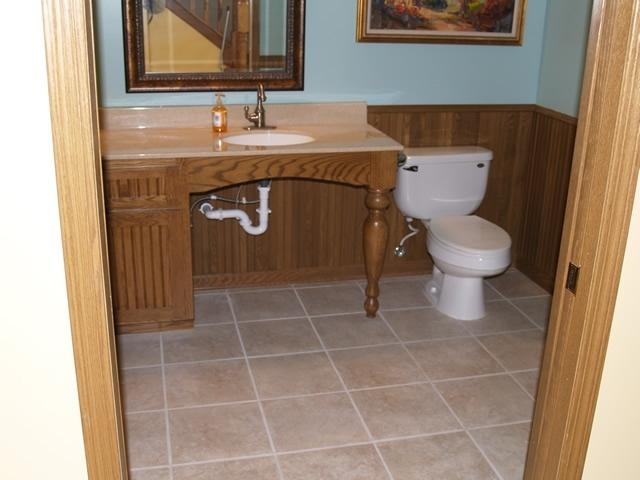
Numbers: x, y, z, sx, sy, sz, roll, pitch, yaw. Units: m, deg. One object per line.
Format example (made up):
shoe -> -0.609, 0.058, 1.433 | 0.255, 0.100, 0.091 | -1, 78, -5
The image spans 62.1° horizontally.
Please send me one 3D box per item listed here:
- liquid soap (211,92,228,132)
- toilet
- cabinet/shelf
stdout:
liquid soap -> -0.572, -0.710, 3.004 | 0.099, 0.200, 0.239 | -6, 24, -9
toilet -> 0.868, -0.056, 3.244 | 0.725, 0.857, 0.893 | -8, 23, -12
cabinet/shelf -> -0.900, 0.029, 2.777 | 0.440, 0.887, 0.174 | -2, 27, -2
